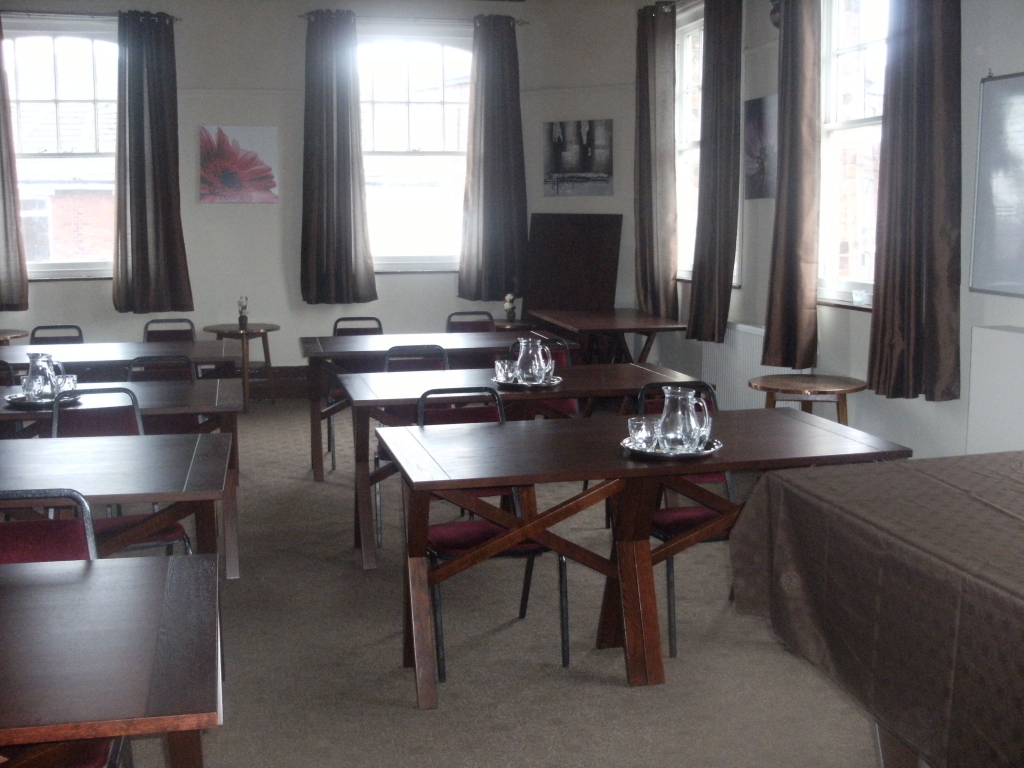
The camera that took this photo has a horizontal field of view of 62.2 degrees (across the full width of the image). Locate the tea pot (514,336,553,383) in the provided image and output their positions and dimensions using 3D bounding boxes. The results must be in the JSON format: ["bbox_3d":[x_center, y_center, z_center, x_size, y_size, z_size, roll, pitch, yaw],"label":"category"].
[{"bbox_3d":[0.116,-0.110,4.515,0.237,0.250,0.167,6,-9,-32],"label":"tea pot"}]

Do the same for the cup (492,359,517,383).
[{"bbox_3d":[-0.037,-0.072,4.473,0.111,0.099,0.109,-1,-1,0],"label":"cup"}]

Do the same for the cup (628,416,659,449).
[{"bbox_3d":[0.493,0.176,3.188,0.101,0.083,0.093,0,3,0],"label":"cup"}]

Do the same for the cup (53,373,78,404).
[{"bbox_3d":[-2.282,0.022,4.319,0.169,0.176,0.227,0,0,-25],"label":"cup"}]

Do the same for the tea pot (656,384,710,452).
[{"bbox_3d":[0.655,0.118,3.153,0.256,0.220,0.173,-8,13,-36],"label":"tea pot"}]
